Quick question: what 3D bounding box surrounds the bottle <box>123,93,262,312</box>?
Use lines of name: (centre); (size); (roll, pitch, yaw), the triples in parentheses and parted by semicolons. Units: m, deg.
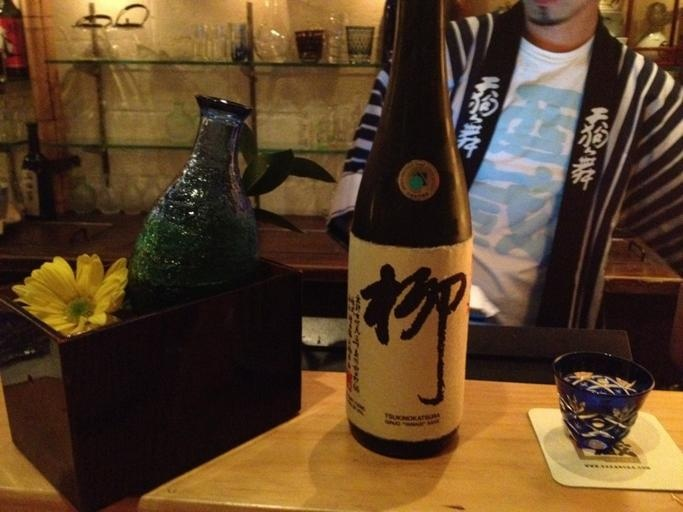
bottle: (-0.139, -0.034, 0.575); (0.127, 0.249, 0.117); (7, -4, 0)

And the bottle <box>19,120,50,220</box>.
bottle: (-1.246, -0.356, 2.262); (0.112, 0.388, 0.259); (-11, 24, -27)

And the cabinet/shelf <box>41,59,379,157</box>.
cabinet/shelf: (-0.597, -0.634, 2.345); (1.666, 0.397, 0.238); (9, 17, 29)

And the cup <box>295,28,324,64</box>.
cup: (-0.122, -0.797, 2.115); (0.103, 0.119, 0.097); (1, 22, 0)

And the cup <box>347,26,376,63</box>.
cup: (0.074, -0.817, 2.149); (0.124, 0.141, 0.134); (3, 20, -1)

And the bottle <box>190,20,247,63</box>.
bottle: (-0.463, -0.811, 2.137); (0.213, 0.143, 0.135); (0, 8, -5)

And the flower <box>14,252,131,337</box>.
flower: (-0.257, 0.039, 0.536); (0.089, 0.037, 0.081); (-10, 61, -6)

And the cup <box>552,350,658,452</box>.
cup: (0.253, 0.156, 0.547); (0.083, 0.061, 0.074); (2, 1, -19)
